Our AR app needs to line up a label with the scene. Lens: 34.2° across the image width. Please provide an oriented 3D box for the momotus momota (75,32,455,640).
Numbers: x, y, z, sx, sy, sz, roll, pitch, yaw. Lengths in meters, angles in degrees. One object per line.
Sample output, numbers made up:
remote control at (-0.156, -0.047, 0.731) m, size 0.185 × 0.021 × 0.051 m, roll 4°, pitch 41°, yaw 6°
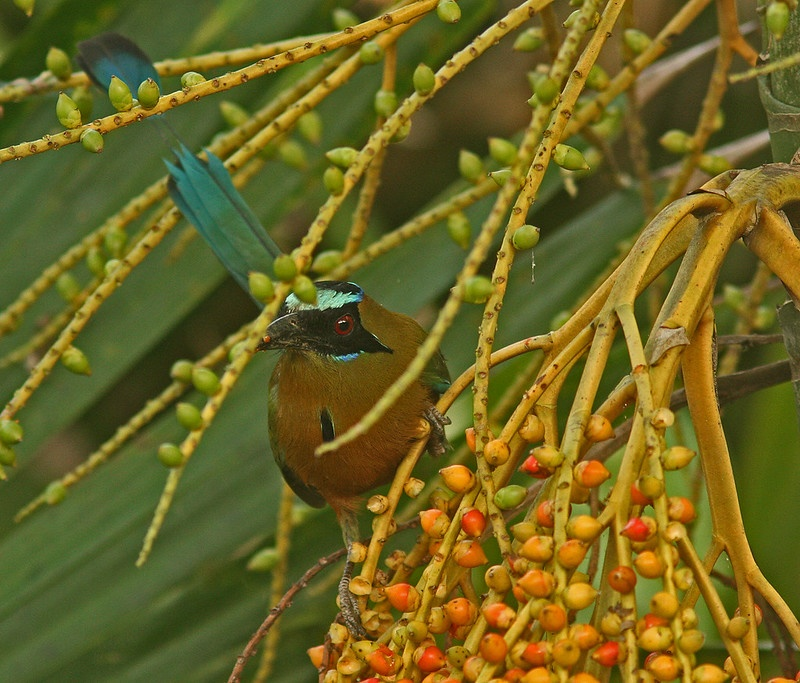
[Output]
momotus momota at (-0.288, -0.082, 2.900) m, size 0.384 × 1.215 × 1.156 m, roll 1°, pitch 0°, yaw -39°
